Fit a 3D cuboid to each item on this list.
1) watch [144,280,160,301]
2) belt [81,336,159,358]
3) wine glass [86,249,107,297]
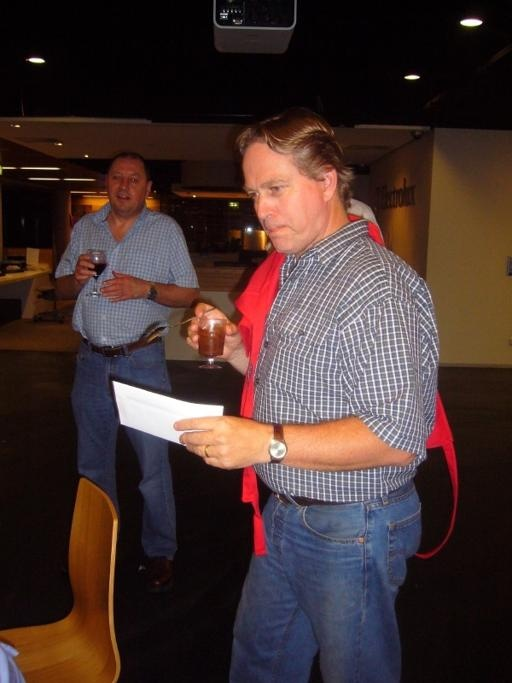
[{"bbox_3d":[-0.439,-0.206,2.254,0.050,0.074,0.071,-3,11,-44],"label":"watch"},{"bbox_3d":[-0.564,0.004,2.281,0.323,0.111,0.132,-2,7,-15],"label":"belt"},{"bbox_3d":[-0.676,-0.290,2.283,0.064,0.196,0.165,-3,8,-17],"label":"wine glass"}]
